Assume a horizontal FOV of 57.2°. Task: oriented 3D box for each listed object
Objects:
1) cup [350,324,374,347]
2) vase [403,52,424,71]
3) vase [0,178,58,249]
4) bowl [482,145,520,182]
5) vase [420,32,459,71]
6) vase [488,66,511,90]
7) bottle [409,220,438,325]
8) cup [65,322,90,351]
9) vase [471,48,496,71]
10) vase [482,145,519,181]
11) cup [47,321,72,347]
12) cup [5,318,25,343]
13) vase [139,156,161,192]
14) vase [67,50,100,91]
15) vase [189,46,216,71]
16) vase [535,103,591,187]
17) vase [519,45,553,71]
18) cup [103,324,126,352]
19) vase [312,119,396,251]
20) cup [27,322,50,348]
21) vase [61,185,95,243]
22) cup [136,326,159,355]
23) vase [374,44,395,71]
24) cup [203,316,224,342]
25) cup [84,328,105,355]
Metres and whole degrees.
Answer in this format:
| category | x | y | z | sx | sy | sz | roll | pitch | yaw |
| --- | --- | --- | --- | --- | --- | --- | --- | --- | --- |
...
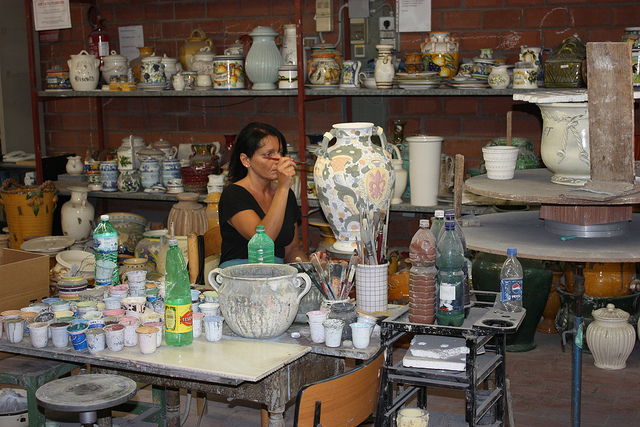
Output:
| category | x | y | z | sx | sy | sz | roll | pitch | yaw |
| --- | --- | --- | --- | --- | --- | --- | --- | --- | --- |
| cup | 0.156 | 0.448 | 2.167 | 0.084 | 0.066 | 0.069 | 3 | 3 | 3 |
| vase | 0.651 | -1.040 | 4.044 | 0.123 | 0.107 | 0.121 | -2 | 10 | -3 |
| vase | -2.319 | -0.012 | 4.896 | 0.562 | 0.679 | 0.503 | -2 | 7 | -28 |
| bowl | 0.777 | -0.212 | 2.512 | 0.156 | 0.121 | 0.154 | 0 | 4 | 0 |
| vase | 0.797 | -1.111 | 4.171 | 0.281 | 0.332 | 0.278 | 0 | 0 | 5 |
| vase | 1.170 | -0.889 | 3.910 | 0.142 | 0.139 | 0.145 | 3 | 4 | 42 |
| bottle | 0.367 | 0.211 | 2.114 | 0.105 | 0.364 | 0.171 | 3 | 12 | 32 |
| cup | -0.901 | 0.457 | 2.198 | 0.095 | 0.089 | 0.092 | 1 | 10 | 0 |
| vase | 1.093 | -1.021 | 3.913 | 0.148 | 0.134 | 0.150 | 7 | 11 | 35 |
| vase | 0.768 | -0.215 | 2.528 | 0.163 | 0.127 | 0.166 | 4 | 11 | 28 |
| cup | -0.981 | 0.455 | 2.218 | 0.088 | 0.074 | 0.087 | 2 | 7 | 0 |
| cup | -1.165 | 0.446 | 2.251 | 0.077 | 0.085 | 0.087 | 0 | 1 | -25 |
| vase | -1.378 | -0.337 | 4.772 | 0.181 | 0.260 | 0.075 | -5 | 10 | -10 |
| vase | -1.935 | -1.164 | 4.807 | 0.264 | 0.326 | 0.165 | -4 | 10 | -6 |
| vase | -0.913 | -1.190 | 4.602 | 0.240 | 0.232 | 0.174 | -3 | 22 | -13 |
| vase | 0.925 | -0.257 | 2.176 | 0.136 | 0.306 | 0.272 | -5 | 10 | -13 |
| vase | 1.393 | -1.014 | 3.857 | 0.229 | 0.218 | 0.143 | 2 | 7 | 7 |
| cup | -0.756 | 0.460 | 2.169 | 0.089 | 0.086 | 0.087 | 0 | 0 | 0 |
| vase | 0.184 | -0.132 | 3.024 | 0.415 | 0.650 | 0.339 | -3 | 10 | 0 |
| cup | -1.057 | 0.458 | 2.214 | 0.086 | 0.085 | 0.083 | 0 | 2 | 0 |
| vase | -1.954 | 0.009 | 4.742 | 0.245 | 0.445 | 0.196 | -8 | 11 | -24 |
| cup | -0.623 | 0.459 | 2.130 | 0.092 | 0.094 | 0.084 | 0 | 4 | 0 |
| vase | 0.449 | -1.097 | 4.142 | 0.136 | 0.189 | 0.145 | -2 | 10 | 7 |
| cup | -0.401 | 0.432 | 2.224 | 0.083 | 0.075 | 0.081 | 1 | 1 | 0 |
| cup | -0.825 | 0.467 | 2.164 | 0.084 | 0.085 | 0.086 | 0 | 1 | 0 |
